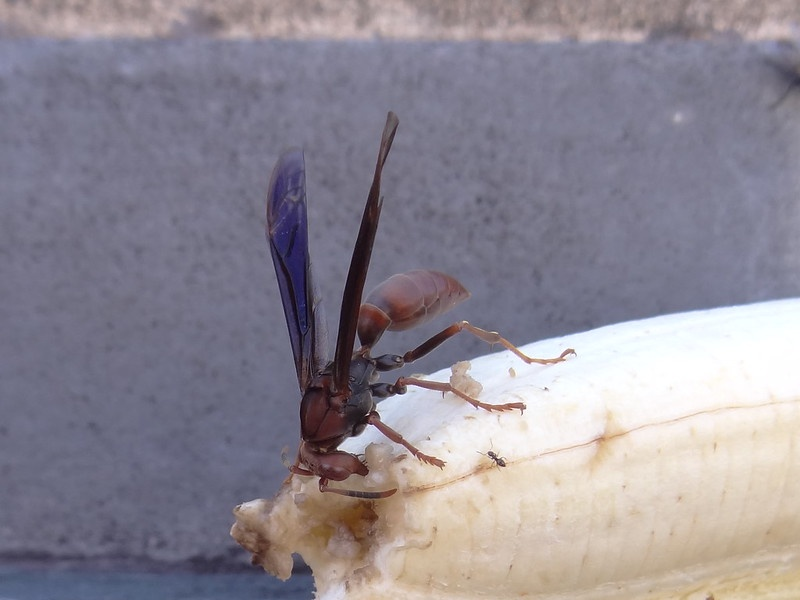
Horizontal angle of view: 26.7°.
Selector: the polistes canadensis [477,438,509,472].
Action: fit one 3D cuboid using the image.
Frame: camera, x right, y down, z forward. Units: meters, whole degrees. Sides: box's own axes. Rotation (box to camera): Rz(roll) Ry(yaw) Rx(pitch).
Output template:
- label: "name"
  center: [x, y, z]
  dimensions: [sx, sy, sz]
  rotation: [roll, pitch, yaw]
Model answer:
- label: "polistes canadensis"
  center: [0.171, 0.278, 2.990]
  dimensions: [0.031, 0.013, 0.043]
  rotation: [-39, 83, -15]
